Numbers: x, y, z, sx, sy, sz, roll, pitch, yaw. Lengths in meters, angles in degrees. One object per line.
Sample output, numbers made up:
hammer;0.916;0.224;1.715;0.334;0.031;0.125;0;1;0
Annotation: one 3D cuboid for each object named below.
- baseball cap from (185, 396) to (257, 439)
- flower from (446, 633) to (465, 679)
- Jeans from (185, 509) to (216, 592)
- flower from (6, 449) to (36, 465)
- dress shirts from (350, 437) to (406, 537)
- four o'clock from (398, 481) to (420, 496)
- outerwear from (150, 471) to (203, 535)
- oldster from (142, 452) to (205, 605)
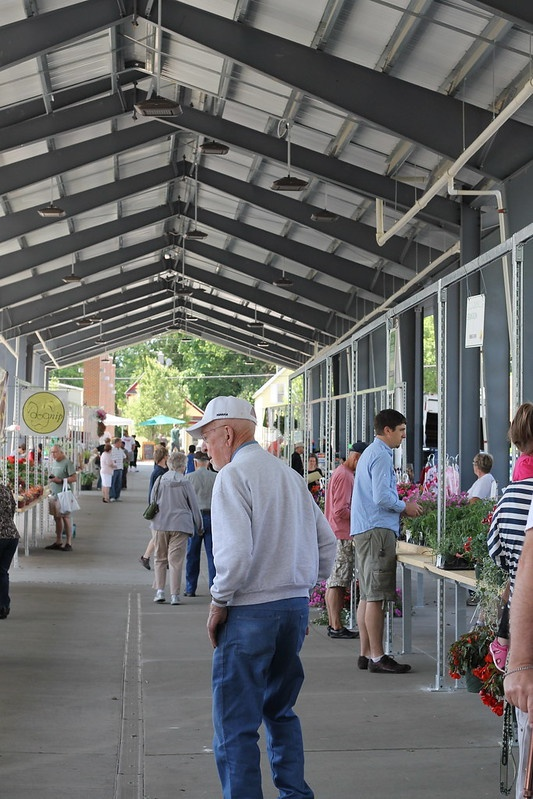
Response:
baseball cap;-0.173;0.060;3.327;0.217;0.111;0.141;1;-5;11
flower;1.022;1.392;5.044;0.070;0.250;0.247;-1;-5;11
Jeans;-0.771;1.749;10.575;0.358;1.032;0.249;-3;-35;2
flower;-4.114;0.929;15.473;0.237;0.126;0.382;14;12;24
dress shirts;0.739;0.567;6.199;0.381;0.631;0.542;2;-3;-10
four o'clock;1.069;0.669;6.985;0.114;0.114;0.115;9;3;-34
outerwear;-0.960;1.084;9.700;0.627;0.712;0.388;-3;18;-2
oldster;-1.024;1.321;9.825;0.644;1.552;0.500;1;-6;0
